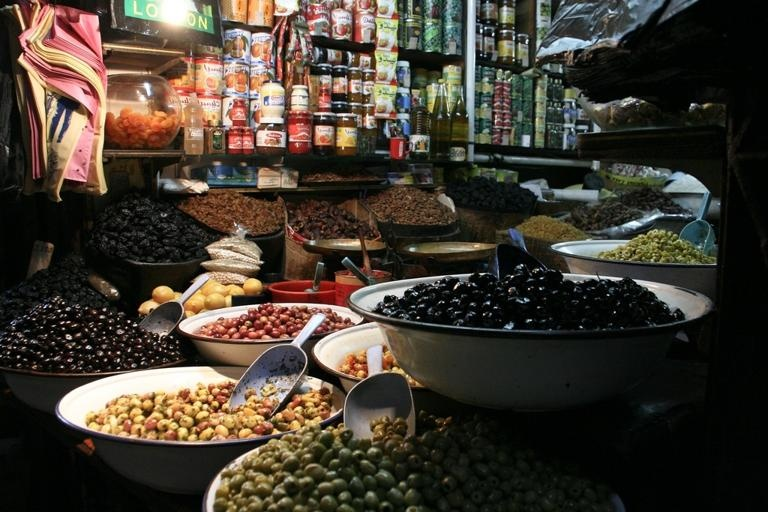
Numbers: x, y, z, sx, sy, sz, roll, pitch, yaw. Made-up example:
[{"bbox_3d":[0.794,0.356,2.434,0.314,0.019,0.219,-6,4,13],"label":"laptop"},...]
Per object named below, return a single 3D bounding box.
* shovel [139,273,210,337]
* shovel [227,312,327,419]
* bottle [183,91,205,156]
[{"bbox_3d":[-0.690,0.167,1.941,0.103,0.046,0.284,10,48,37],"label":"shovel"},{"bbox_3d":[-0.283,0.282,1.474,0.123,0.031,0.228,20,61,40],"label":"shovel"},{"bbox_3d":[-1.010,-0.701,2.986,0.097,0.327,0.391,-3,12,-15],"label":"bottle"}]
